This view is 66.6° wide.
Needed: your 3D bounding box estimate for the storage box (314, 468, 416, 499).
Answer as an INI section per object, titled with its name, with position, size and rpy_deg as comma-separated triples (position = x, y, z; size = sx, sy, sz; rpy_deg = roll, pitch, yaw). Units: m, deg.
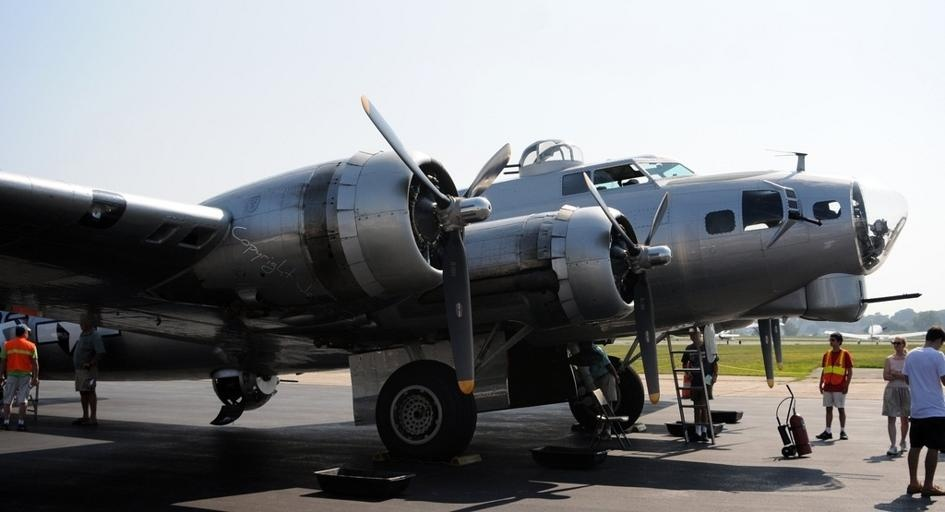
[storage box]
position = -2.268, 4.694, 14.844
size = 1.582, 0.276, 0.747
rpy_deg = 0, -5, 18
